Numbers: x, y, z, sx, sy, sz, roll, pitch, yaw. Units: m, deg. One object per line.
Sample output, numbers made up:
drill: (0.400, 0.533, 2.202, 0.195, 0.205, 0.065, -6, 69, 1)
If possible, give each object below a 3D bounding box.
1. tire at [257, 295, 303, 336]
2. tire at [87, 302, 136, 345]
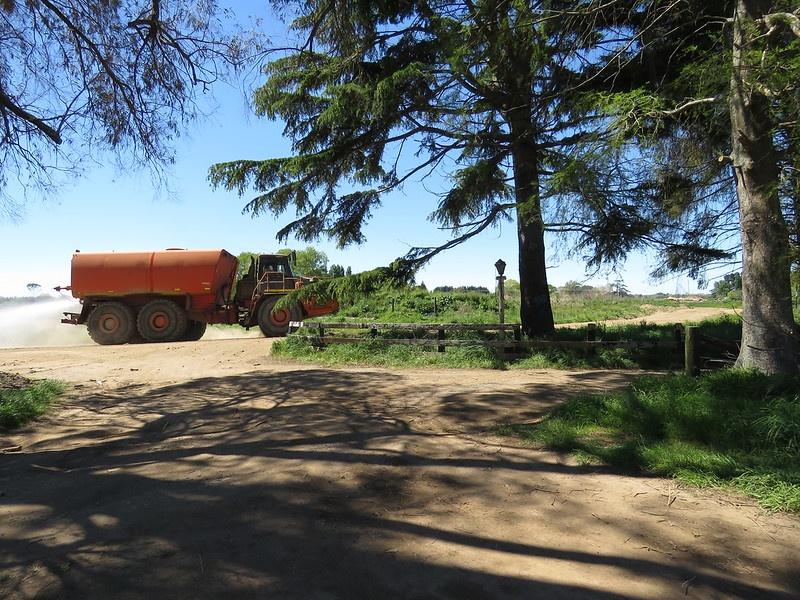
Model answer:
tire: (-4.221, 0.512, 20.809, 1.400, 1.508, 0.449, 2, 3, -32)
tire: (-10.630, 0.909, 21.893, 1.525, 1.632, 0.499, 1, -4, -8)
